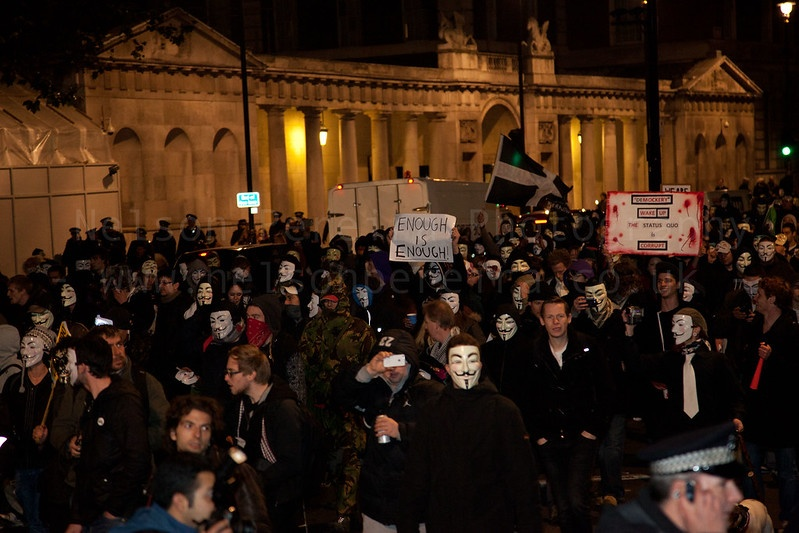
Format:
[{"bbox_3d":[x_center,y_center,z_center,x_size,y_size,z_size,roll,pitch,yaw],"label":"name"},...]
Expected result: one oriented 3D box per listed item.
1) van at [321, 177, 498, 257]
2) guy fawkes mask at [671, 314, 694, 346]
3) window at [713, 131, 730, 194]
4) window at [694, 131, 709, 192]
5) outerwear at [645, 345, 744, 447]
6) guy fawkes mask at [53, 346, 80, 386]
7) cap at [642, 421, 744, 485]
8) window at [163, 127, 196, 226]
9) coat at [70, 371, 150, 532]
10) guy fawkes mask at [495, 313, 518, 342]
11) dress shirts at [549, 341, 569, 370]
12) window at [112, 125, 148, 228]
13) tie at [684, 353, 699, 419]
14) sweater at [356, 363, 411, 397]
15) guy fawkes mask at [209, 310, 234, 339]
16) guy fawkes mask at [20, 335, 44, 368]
[{"bbox_3d":[0.782,-1.856,30.812,2.522,2.036,3.891,3,6,44],"label":"van"},{"bbox_3d":[3.167,0.708,10.653,0.230,0.340,0.165,-2,-1,21],"label":"guy fawkes mask"},{"bbox_3d":[23.351,-7.644,69.888,0.946,4.422,0.217,-4,11,-14],"label":"window"},{"bbox_3d":[21.743,-7.563,68.793,1.010,4.747,1.065,-7,3,5],"label":"window"},{"bbox_3d":[3.031,1.332,9.799,0.917,0.958,0.500,-7,-7,28],"label":"outerwear"},{"bbox_3d":[-3.229,0.944,9.148,0.157,0.364,0.845,-1,-1,-25],"label":"guy fawkes mask"},{"bbox_3d":[1.825,1.149,5.955,0.518,0.253,0.421,-2,-2,-4],"label":"cap"},{"bbox_3d":[-8.809,-3.882,37.232,1.576,0.371,5.472,-1,-45,-15],"label":"window"},{"bbox_3d":[-2.688,1.750,8.800,0.792,1.393,0.234,-2,-1,21],"label":"coat"},{"bbox_3d":[1.207,0.707,10.866,0.243,0.335,0.143,-2,-11,13],"label":"guy fawkes mask"},{"bbox_3d":[1.700,0.955,10.159,0.193,0.284,0.104,-1,-6,8],"label":"dress shirts"},{"bbox_3d":[-10.402,-3.492,36.322,1.267,4.297,0.347,-3,30,-17],"label":"window"},{"bbox_3d":[3.209,1.320,10.515,0.152,0.689,0.089,-1,-1,11],"label":"tie"},{"bbox_3d":[-0.154,1.051,8.909,0.344,0.289,0.464,0,-1,-43],"label":"sweater"},{"bbox_3d":[-2.171,0.688,11.619,0.329,0.439,0.298,-1,-1,5],"label":"guy fawkes mask"},{"bbox_3d":[-3.950,0.914,10.214,0.287,0.328,0.189,-2,-10,13],"label":"guy fawkes mask"}]
